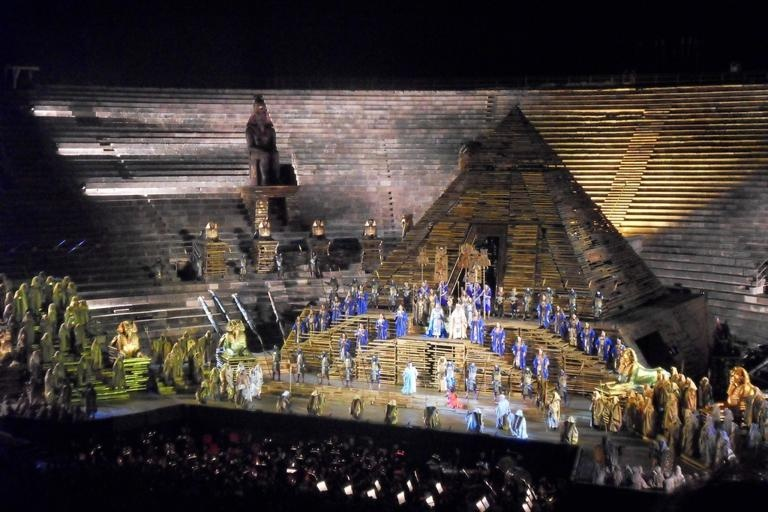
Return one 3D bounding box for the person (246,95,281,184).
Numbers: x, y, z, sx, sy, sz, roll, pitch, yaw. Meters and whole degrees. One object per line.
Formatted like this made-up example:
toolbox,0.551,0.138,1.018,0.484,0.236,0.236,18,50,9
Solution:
person,-5.281,-5.023,29.693,1.306,3.834,0.889,-1,-7,-13
